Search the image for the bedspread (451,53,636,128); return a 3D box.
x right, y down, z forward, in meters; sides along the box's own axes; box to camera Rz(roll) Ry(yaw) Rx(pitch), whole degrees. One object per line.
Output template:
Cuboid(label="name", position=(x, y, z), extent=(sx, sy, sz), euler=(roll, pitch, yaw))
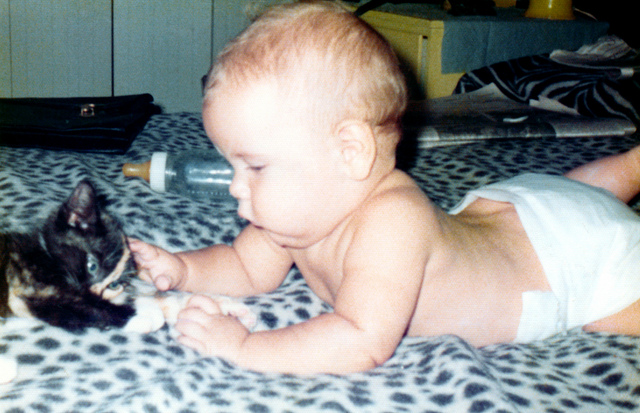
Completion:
Cuboid(label="bedspread", position=(0.883, -0.619, 2.612), extent=(1.038, 0.302, 0.477), euler=(-1, 23, 4))

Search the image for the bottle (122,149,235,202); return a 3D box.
Cuboid(label="bottle", position=(-0.357, -0.090, 1.667), extent=(0.408, 0.124, 0.128), euler=(4, 20, -17))
